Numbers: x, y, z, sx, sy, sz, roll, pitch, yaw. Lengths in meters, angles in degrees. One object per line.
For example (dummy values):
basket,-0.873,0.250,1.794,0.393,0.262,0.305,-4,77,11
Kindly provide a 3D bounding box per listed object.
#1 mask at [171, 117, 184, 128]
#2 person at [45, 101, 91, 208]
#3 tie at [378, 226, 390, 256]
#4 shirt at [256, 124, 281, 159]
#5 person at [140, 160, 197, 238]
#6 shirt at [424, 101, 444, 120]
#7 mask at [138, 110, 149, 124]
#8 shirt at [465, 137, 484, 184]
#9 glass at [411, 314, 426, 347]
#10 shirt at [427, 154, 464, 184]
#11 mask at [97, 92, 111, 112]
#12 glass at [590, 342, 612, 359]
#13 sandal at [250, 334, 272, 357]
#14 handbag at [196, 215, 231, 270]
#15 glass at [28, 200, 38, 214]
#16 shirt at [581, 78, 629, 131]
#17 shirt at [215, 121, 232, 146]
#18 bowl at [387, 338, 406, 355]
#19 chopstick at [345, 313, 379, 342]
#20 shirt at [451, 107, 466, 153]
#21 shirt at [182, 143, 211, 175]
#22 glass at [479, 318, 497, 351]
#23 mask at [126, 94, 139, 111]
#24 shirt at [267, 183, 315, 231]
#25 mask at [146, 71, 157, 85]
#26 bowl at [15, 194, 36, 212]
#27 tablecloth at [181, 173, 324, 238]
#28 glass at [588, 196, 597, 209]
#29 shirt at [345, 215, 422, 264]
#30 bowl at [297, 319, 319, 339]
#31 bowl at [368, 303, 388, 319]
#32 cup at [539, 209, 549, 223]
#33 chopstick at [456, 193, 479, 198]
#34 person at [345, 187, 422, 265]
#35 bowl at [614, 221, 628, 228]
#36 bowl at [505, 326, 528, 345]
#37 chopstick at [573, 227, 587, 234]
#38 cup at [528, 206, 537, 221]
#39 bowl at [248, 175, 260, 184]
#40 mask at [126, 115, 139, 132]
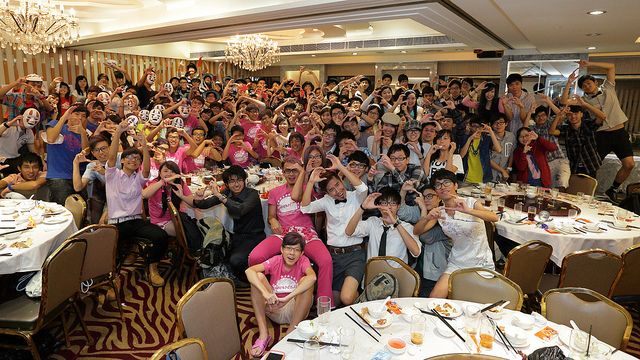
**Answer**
mask,-2.783,-1.135,7.713,0.196,0.190,0.205,-7,16,-23
person,-4.447,-0.463,6.930,0.711,1.677,0.785,-7,16,-23
tie,0.907,0.868,5.627,0.109,0.367,0.175,5,16,19
shirt,-1.034,-0.735,7.916,0.472,0.645,0.731,-2,15,-7
person,-2.445,0.295,6.379,0.886,1.220,0.280,2,15,6
shirt,2.603,-1.610,8.916,0.086,0.322,0.357,29,49,-8
mask,-3.635,-1.320,8.131,0.154,0.260,0.493,-11,18,-36
shirt,2.878,-0.365,7.349,0.299,0.770,0.281,-1,15,-4
glass,1.091,1.649,4.378,0.152,0.276,0.259,5,16,17
shirt,2.006,-0.200,6.383,0.394,0.220,0.368,24,69,45
mask,-4.760,-1.732,8.689,0.205,0.411,0.560,-6,16,-20
glass,2.946,1.802,4.161,0.180,0.179,0.180,2,-8,21
sandal,-0.778,2.184,5.214,0.122,0.105,0.292,-1,28,32
handbag,-1.656,0.948,6.047,0.530,0.671,0.270,0,-7,30
glass,-4.297,0.387,5.947,0.169,0.138,0.193,-1,-7,6
shirt,5.775,-1.506,8.009,0.604,1.246,0.609,3,-1,-38
shirt,-2.131,-1.044,8.527,0.174,0.440,0.603,-6,16,-22
bowl,0.834,1.799,4.276,0.144,0.060,0.144,-7,18,2
chopstick,0.476,1.657,4.414,0.407,0.025,0.016,38,47,16
shirt,2.746,-1.072,7.854,0.301,1.264,0.333,1,18,13
shirt,-2.366,-0.436,7.547,0.577,0.548,0.311,-13,52,-32
glass,1.872,1.672,4.383,0.159,0.282,0.345,8,17,28
mask,-4.166,-1.724,8.752,0.232,0.352,0.470,-7,16,-25
shirt,-0.433,0.414,6.227,0.812,0.778,0.445,-3,9,0
mask,-4.102,-2.502,9.572,0.175,0.295,0.370,-7,16,-23
bowl,-4.427,0.334,5.981,0.216,0.116,0.297,5,3,-8
tablecloth,-0.834,0.571,6.764,1.291,1.244,2.723,2,-2,-27
glass,4.534,0.375,6.559,0.174,0.176,0.157,-10,14,-43
shirt,0.935,0.884,5.749,1.095,0.654,0.392,3,15,10
bowl,-0.153,1.642,4.427,0.190,0.086,0.189,-1,14,0
bowl,0.659,1.503,4.568,0.157,0.087,0.157,-3,16,1
cup,3.406,0.545,5.993,0.131,0.130,0.152,9,17,31
chopstick,2.465,0.250,6.558,0.245,0.026,0.025,14,25,2
person,0.928,0.660,5.675,1.079,1.096,0.599,5,16,17
bowl,4.503,0.656,5.891,0.229,0.057,0.134,-9,17,-32
bowl,2.160,1.701,4.339,0.168,0.069,0.166,-3,19,1
chopstick,3.811,0.732,5.774,0.012,0.013,0.113,19,21,-49
cup,3.240,0.500,6.006,0.115,0.210,0.187,8,17,28
bowl,-1.153,-0.024,6.774,0.139,0.128,0.139,4,-1,0
mask,-3.644,-1.153,7.704,0.179,0.227,0.374,-6,16,-22
